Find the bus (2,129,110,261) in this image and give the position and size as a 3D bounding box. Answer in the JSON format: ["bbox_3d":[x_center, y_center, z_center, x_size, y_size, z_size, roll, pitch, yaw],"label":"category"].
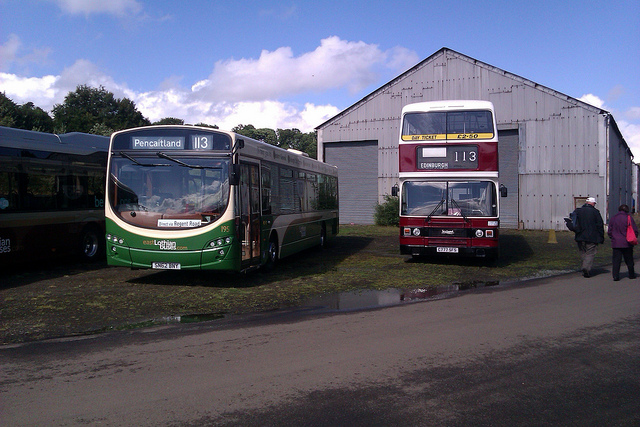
[{"bbox_3d":[-7.752,-0.357,15.339,0.734,4.116,3.964,2,7,14],"label":"bus"}]

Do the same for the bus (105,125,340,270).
[{"bbox_3d":[-2.069,-0.591,19.247,3.553,4.146,13.725,0,0,12],"label":"bus"}]

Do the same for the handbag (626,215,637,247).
[{"bbox_3d":[8.307,0.450,14.058,0.226,0.802,0.334,4,8,31],"label":"handbag"}]

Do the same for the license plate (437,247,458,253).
[{"bbox_3d":[3.782,1.076,15.654,0.582,0.150,0.056,2,7,16],"label":"license plate"}]

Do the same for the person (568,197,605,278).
[{"bbox_3d":[7.456,0.655,14.694,0.920,2.126,0.952,-4,8,-26],"label":"person"}]
